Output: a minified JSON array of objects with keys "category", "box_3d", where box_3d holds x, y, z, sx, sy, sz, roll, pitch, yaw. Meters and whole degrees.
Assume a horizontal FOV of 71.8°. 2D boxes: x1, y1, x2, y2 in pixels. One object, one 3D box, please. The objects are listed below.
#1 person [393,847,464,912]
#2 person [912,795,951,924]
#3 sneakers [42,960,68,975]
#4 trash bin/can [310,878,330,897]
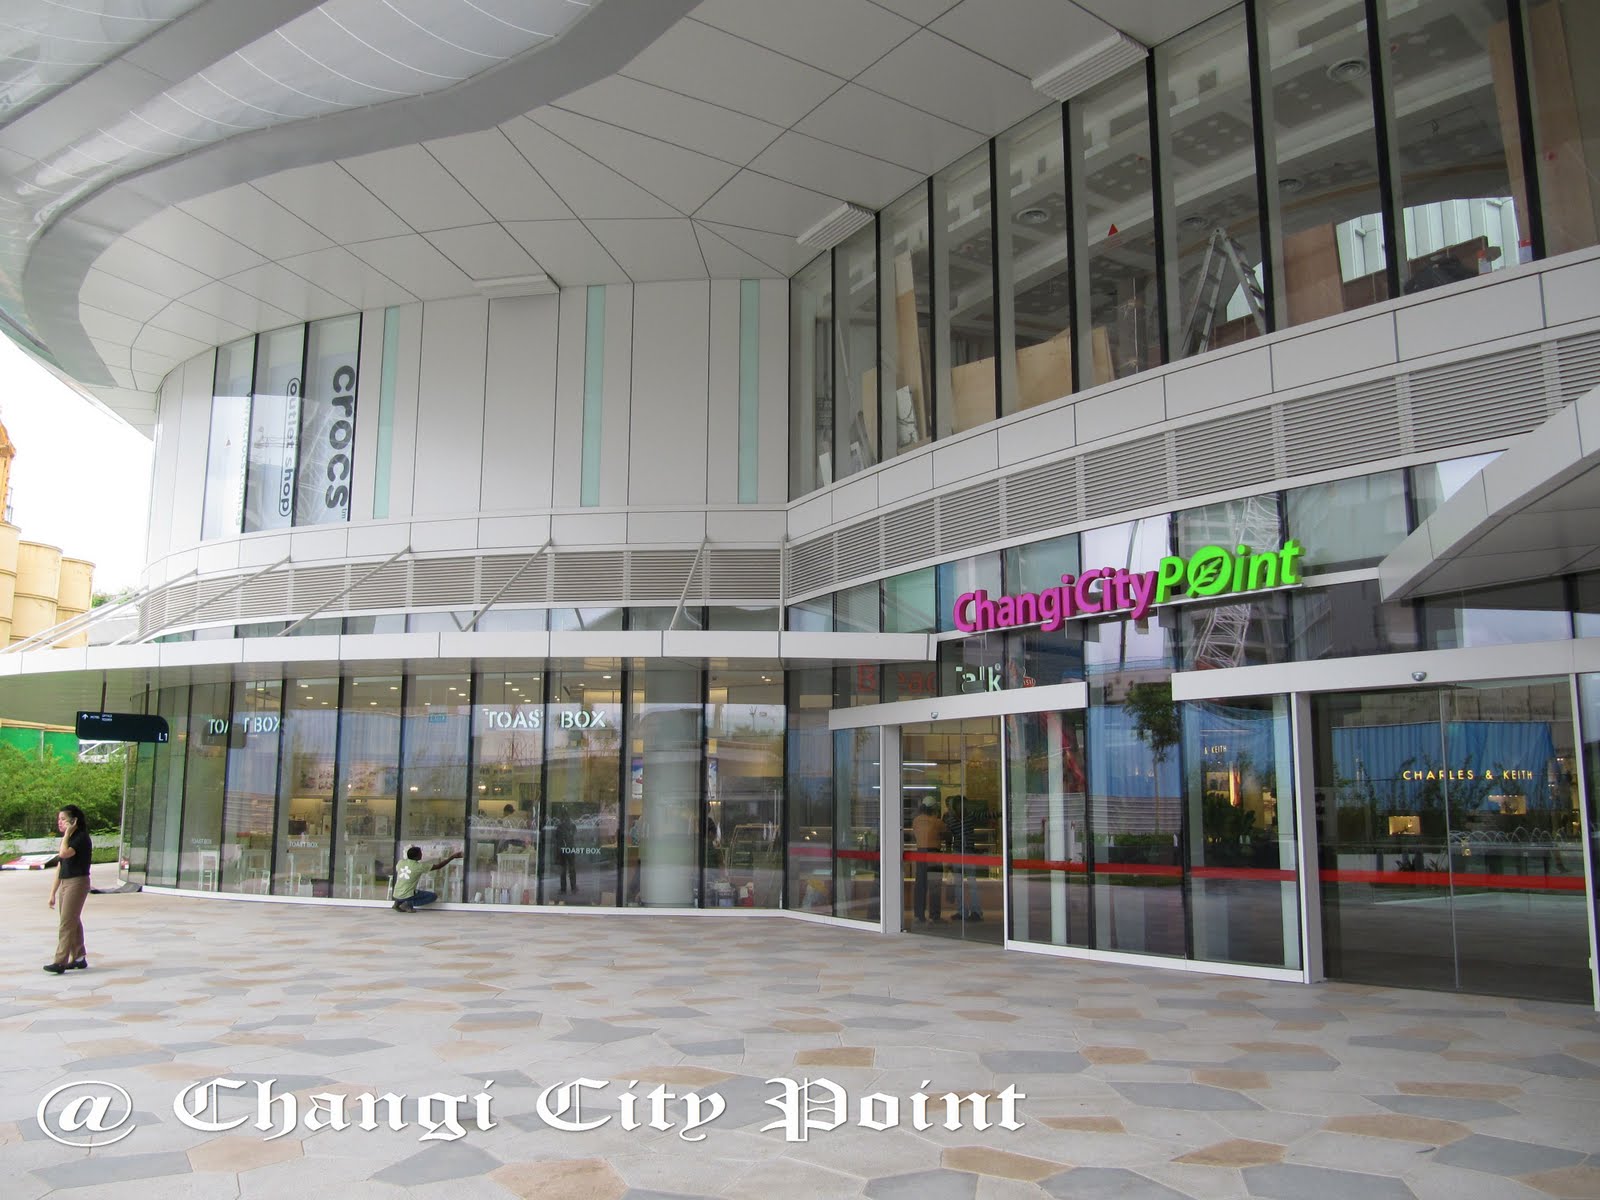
[{"category":"person","box_3d":[-7.361,5.398,21.607,1.006,1.233,0.700,9,-15,-32]},{"category":"person","box_3d":[2.094,4.318,18.228,0.436,1.765,0.534,-12,-25,40]},{"category":"sneakers","box_3d":[-9.341,4.611,13.944,0.125,0.159,0.329,-6,-22,12]},{"category":"trash bin/can","box_3d":[-9.849,5.885,22.702,0.378,0.347,0.200,-2,-5,22]}]
